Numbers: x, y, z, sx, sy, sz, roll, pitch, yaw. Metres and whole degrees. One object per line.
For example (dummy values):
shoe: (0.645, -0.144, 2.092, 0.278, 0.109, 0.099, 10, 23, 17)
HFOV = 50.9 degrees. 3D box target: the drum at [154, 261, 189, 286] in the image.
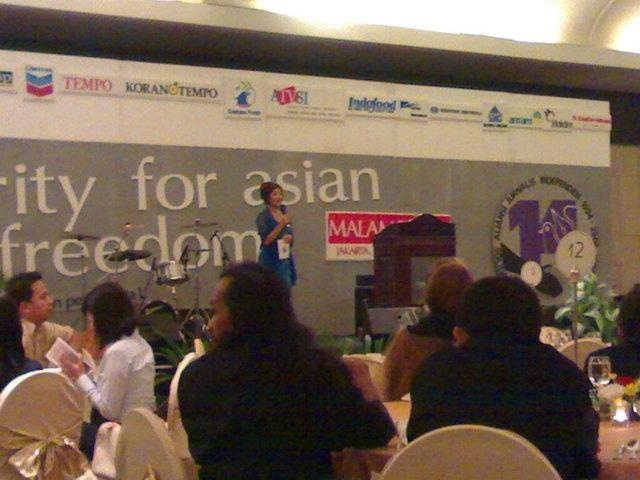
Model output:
drum: (-1.551, 0.369, 6.957, 0.261, 0.189, 0.263, 0, -6, 0)

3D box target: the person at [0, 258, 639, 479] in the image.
person: (-0.227, 0.627, 3.073, 2.738, 1.007, 0.935, -4, -5, 22)

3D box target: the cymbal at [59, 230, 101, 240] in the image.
cymbal: (-2.602, -0.028, 7.355, 0.342, 0.122, 0.334, -6, -6, 40)
